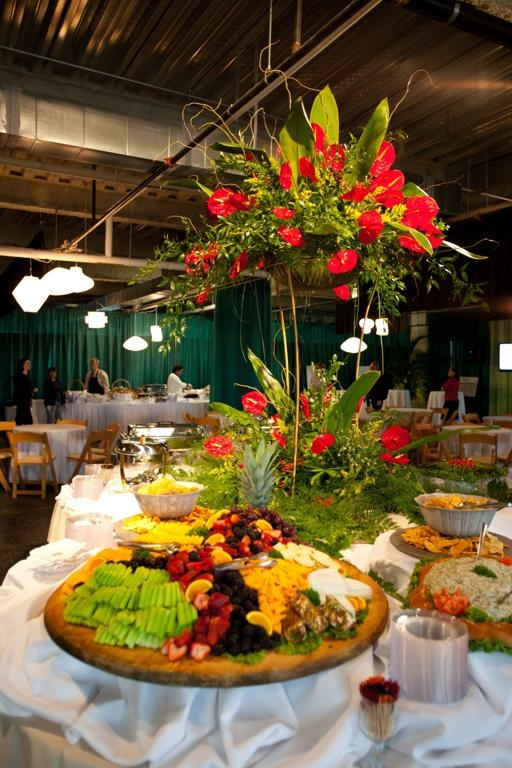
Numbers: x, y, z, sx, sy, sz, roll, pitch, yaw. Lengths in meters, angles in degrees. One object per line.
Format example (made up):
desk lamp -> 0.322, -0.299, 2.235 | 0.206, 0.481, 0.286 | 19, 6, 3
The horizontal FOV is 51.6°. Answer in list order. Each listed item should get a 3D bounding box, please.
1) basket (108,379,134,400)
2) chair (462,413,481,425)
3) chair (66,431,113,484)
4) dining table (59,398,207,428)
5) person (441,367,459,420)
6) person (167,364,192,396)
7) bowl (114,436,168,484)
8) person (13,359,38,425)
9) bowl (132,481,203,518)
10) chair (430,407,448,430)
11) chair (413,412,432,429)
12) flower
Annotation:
basket -> -2.796, 0.103, 10.876 | 0.393, 0.571, 0.591 | 1, -6, -8
chair -> 3.344, 0.551, 8.251 | 0.167, 0.291, 0.200 | 0, -11, -8
chair -> -1.897, 0.821, 6.108 | 0.464, 0.606, 0.427 | 1, 2, 12
dining table -> -1.911, 0.426, 8.462 | 2.210, 0.565, 0.578 | -6, 6, -31
person -> 3.474, 0.184, 9.431 | 0.260, 0.897, 1.731 | -1, 6, 19
person -> -1.385, -0.066, 9.432 | 0.450, 0.539, 0.988 | -3, 5, -8
bowl -> -0.350, 0.235, 1.667 | 0.169, 0.166, 0.139 | 0, 1, -9
person -> -4.043, 0.167, 9.200 | 0.343, 1.156, 1.087 | -5, 6, -24
bowl -> -0.219, 0.298, 1.348 | 0.158, 0.076, 0.136 | -6, 6, -33
chair -> 2.866, 0.548, 8.316 | 0.239, 0.434, 0.298 | -1, -2, 11
chair -> 2.284, 0.500, 7.269 | 0.251, 0.329, 0.237 | 0, -8, -4
flower -> 0.107, -0.455, 1.351 | 0.681, 0.521, 0.607 | -10, 20, -5
